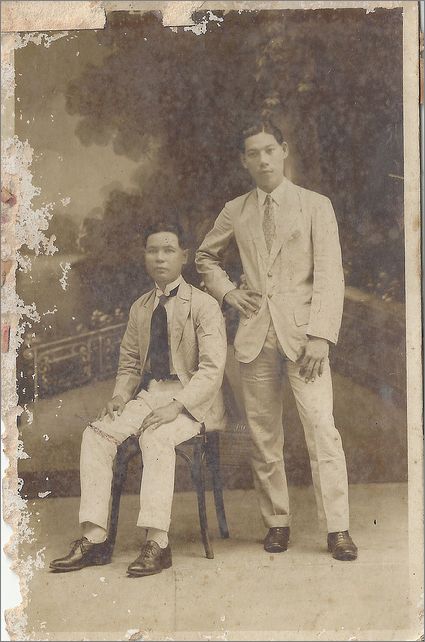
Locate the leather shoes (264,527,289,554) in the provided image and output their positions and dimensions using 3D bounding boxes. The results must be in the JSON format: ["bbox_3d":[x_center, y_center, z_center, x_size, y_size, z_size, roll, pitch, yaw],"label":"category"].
[{"bbox_3d":[0.270,0.962,5.338,0.061,0.102,0.138,0,-20,7],"label":"leather shoes"}]

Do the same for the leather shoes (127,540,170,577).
[{"bbox_3d":[-0.273,1.032,5.295,0.094,0.141,0.207,-7,-3,41],"label":"leather shoes"}]
